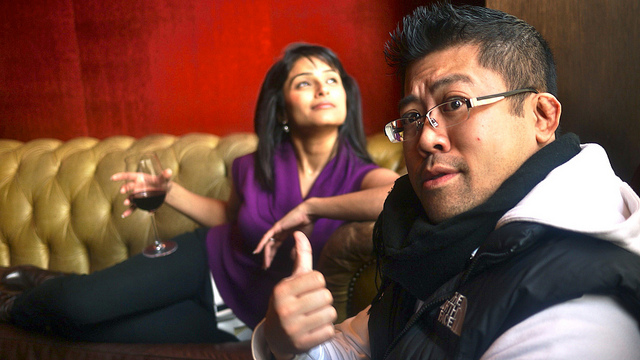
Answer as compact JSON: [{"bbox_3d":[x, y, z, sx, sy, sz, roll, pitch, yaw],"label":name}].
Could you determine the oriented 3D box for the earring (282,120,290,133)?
[{"bbox_3d":[-0.194,-0.300,2.934,0.034,0.049,0.015,-27,-7,32],"label":"earring"}]

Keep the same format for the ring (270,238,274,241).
[{"bbox_3d":[-0.236,0.287,2.505,0.011,0.016,0.004,-4,4,-26],"label":"ring"}]

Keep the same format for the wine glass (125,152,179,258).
[{"bbox_3d":[-0.900,0.133,2.702,0.252,0.543,0.289,-2,12,-6],"label":"wine glass"}]
